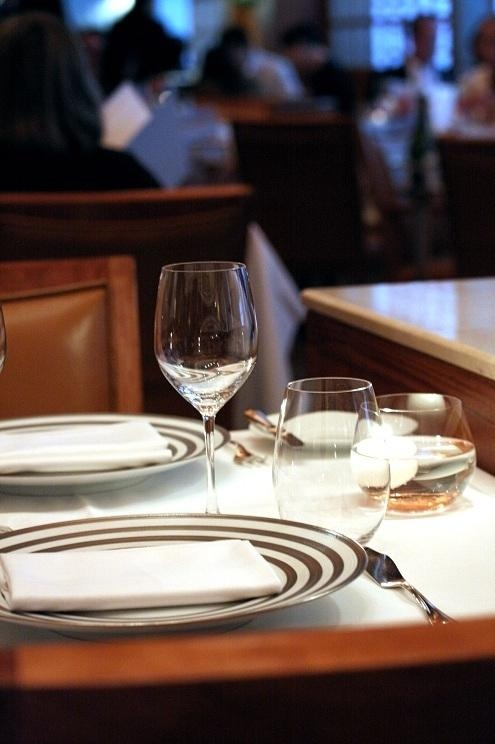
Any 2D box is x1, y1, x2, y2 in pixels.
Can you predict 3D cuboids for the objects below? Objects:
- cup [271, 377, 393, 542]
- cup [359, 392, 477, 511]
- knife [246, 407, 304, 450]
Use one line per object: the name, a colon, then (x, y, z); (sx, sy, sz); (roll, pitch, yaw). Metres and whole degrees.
cup: (0.054, 0.066, 0.556); (0.118, 0.169, 0.111); (-1, 2, 0)
cup: (0.168, 0.078, 0.668); (0.109, 0.105, 0.112); (-2, 7, 0)
knife: (0.023, 0.061, 0.753); (0.016, 0.014, 0.108); (-6, 10, -12)
